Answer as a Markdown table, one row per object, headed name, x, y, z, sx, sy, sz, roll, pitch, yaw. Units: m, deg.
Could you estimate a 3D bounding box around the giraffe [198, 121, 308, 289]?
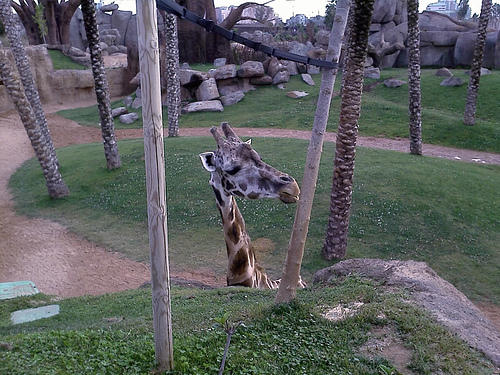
| name | x | y | z | sx | sy | sz | roll | pitch | yaw |
| --- | --- | --- | --- | --- | --- | --- | --- | --- | --- |
| giraffe | 0.056 | 0.589 | 10.623 | 2.901 | 5.650 | 1.796 | 4 | 48 | 16 |
